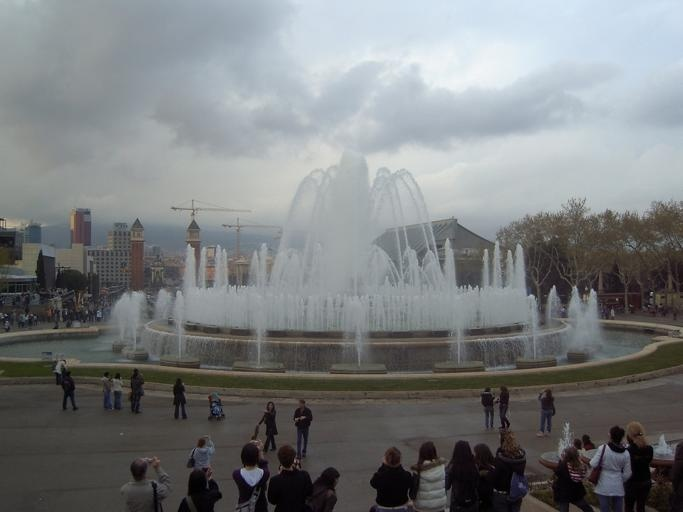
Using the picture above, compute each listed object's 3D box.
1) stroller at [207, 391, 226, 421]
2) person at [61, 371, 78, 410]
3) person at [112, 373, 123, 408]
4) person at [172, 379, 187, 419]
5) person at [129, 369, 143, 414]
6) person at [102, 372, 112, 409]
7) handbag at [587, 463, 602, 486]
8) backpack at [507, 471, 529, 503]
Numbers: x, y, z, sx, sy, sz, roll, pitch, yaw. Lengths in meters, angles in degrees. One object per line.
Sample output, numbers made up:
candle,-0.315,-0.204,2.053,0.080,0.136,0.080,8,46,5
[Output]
stroller,-4.209,5.038,24.881,0.671,1.150,0.832,2,-3,-30
person,-9.474,4.641,25.908,0.537,1.374,1.565,1,-6,-20
person,-7.776,4.682,25.751,0.326,1.261,0.741,1,-5,-18
person,-5.404,4.778,24.917,0.448,1.352,0.887,0,-5,-12
person,-7.062,4.653,25.580,0.439,1.467,0.952,1,-5,-16
person,-8.139,4.685,25.838,0.300,1.269,0.884,1,-5,-17
handbag,6.175,5.328,18.081,0.318,0.531,0.241,-2,-5,15
backpack,4.204,5.455,17.540,0.449,0.719,0.285,3,-6,-36
